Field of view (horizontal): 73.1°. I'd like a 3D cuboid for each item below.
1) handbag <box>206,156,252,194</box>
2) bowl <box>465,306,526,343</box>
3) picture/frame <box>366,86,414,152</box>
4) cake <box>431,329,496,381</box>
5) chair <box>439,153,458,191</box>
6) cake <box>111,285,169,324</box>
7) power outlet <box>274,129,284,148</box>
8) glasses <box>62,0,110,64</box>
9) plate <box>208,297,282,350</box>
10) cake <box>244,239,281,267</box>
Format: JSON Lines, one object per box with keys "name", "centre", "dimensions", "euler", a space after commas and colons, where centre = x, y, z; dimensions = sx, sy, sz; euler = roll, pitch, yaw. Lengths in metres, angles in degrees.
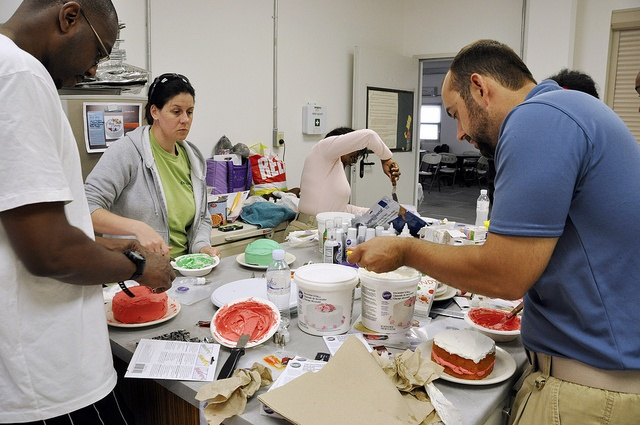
{"name": "handbag", "centre": [-0.789, -0.332, 3.807], "dimensions": [0.287, 0.297, 0.419], "euler": [17, 21, 38]}
{"name": "bowl", "centre": [0.667, 0.427, 1.667], "dimensions": [0.127, 0.032, 0.131], "euler": [-1, 15, 0]}
{"name": "picture/frame", "centre": [0.941, -1.233, 5.792], "dimensions": [0.029, 0.802, 1.078], "euler": [-10, 19, -25]}
{"name": "cake", "centre": [0.485, 0.441, 1.435], "dimensions": [0.146, 0.076, 0.150], "euler": [9, 12, 37]}
{"name": "chair", "centre": [3.330, -1.016, 11.314], "dimensions": [0.550, 0.858, 0.671], "euler": [-4, -17, 19]}
{"name": "cake", "centre": [-0.726, 0.359, 1.722], "dimensions": [0.205, 0.106, 0.211], "euler": [6, 5, 8]}
{"name": "power outlet", "centre": [-0.442, -0.788, 4.578], "dimensions": [0.096, 0.183, 0.175], "euler": [4, 7, 32]}
{"name": "glasses", "centre": [-0.684, -0.534, 1.293], "dimensions": [0.031, 0.111, 0.104], "euler": [-35, 9, -22]}
{"name": "plate", "centre": [-0.270, 0.410, 1.589], "dimensions": [0.239, 0.057, 0.239], "euler": [-24, 36, -34]}
{"name": "cake", "centre": [-0.314, 0.198, 2.254], "dimensions": [0.166, 0.104, 0.156], "euler": [-6, 25, -42]}
